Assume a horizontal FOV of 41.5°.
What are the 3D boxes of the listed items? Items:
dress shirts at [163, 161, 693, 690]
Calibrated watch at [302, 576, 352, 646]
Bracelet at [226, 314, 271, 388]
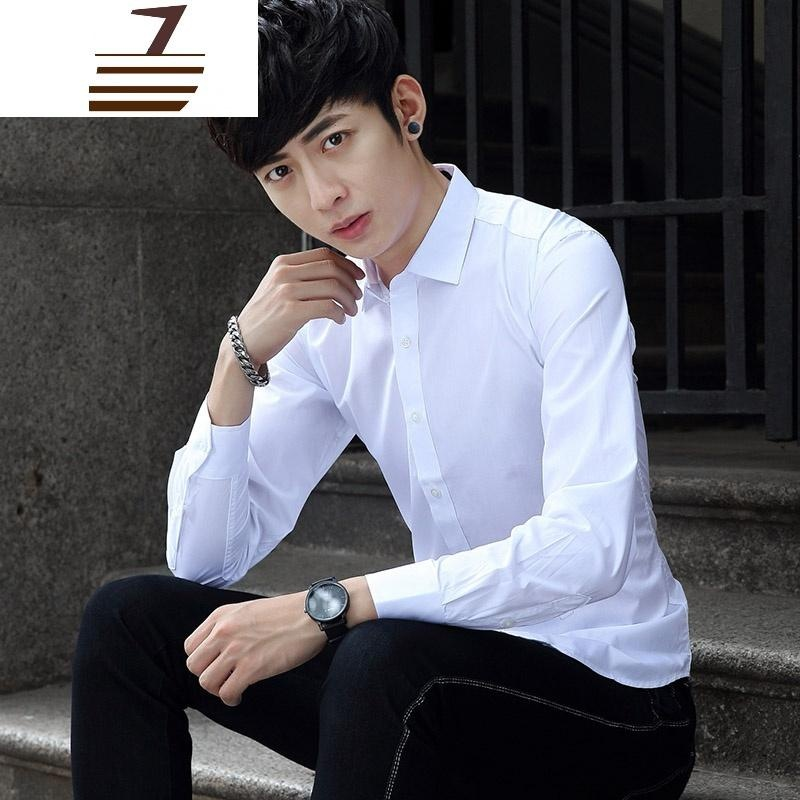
[{"bbox_3d":[0.144,0.019,2.013,0.885,0.920,0.918,-4,-5,-43],"label":"dress shirts"},{"bbox_3d":[-0.104,0.308,1.599,0.066,0.092,0.088,-26,-30,2],"label":"Calibrated watch"},{"bbox_3d":[-0.276,-0.089,1.897,0.035,0.117,0.088,-16,28,10],"label":"Bracelet"}]
